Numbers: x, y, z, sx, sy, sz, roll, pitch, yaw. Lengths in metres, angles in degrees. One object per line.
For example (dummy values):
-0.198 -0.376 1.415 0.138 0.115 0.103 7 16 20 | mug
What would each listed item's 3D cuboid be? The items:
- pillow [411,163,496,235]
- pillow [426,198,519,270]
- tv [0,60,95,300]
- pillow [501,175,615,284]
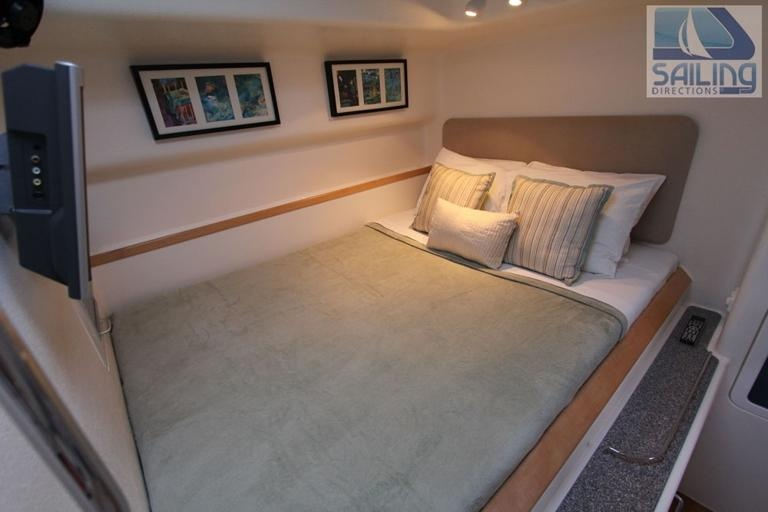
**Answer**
0.493 -0.367 3.369 0.148 0.472 0.488 18 3 -38 | pillow
0.545 -0.154 3.108 0.587 0.360 0.227 19 17 39 | pillow
-1.143 -0.242 1.651 0.279 0.788 0.177 2 20 -1 | tv
0.977 -0.182 2.950 0.316 0.575 0.599 -11 21 -39 | pillow
